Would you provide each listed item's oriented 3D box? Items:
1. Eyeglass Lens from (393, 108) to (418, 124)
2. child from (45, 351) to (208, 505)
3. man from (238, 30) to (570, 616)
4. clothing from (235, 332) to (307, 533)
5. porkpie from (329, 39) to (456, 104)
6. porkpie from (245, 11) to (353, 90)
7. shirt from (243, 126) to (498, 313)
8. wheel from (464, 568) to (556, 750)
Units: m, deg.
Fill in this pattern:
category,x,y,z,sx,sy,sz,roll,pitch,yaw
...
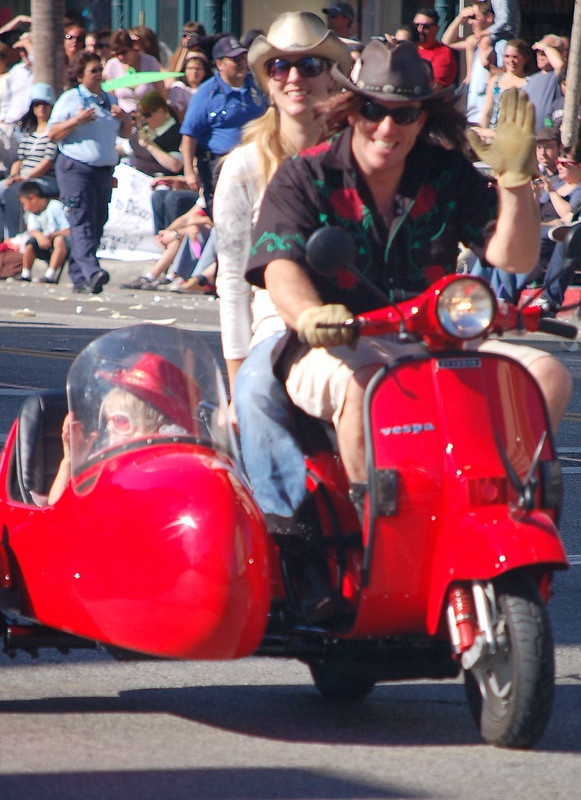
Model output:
category,x,y,z,sx,sy,sz,roll,pitch,yaw
Eyeglass Lens,0.290,-0.705,2.899,0.053,0.016,0.049,-3,1,-23
child,-0.384,0.037,2.840,0.294,0.223,0.408,14,53,11
man,0.279,-0.310,3.100,0.986,1.171,0.704,-7,23,-10
clothing,-0.061,0.099,3.129,0.156,0.562,0.182,-6,-9,-29
porkpie,0.252,-0.827,2.939,0.239,0.143,0.206,4,22,3
porkpie,0.023,-1.379,4.629,0.535,0.217,0.524,0,23,1
shirt,0.216,-0.458,2.981,0.849,0.552,0.352,-2,13,-10
wheel,0.477,0.605,2.562,0.158,0.430,0.237,3,23,1
